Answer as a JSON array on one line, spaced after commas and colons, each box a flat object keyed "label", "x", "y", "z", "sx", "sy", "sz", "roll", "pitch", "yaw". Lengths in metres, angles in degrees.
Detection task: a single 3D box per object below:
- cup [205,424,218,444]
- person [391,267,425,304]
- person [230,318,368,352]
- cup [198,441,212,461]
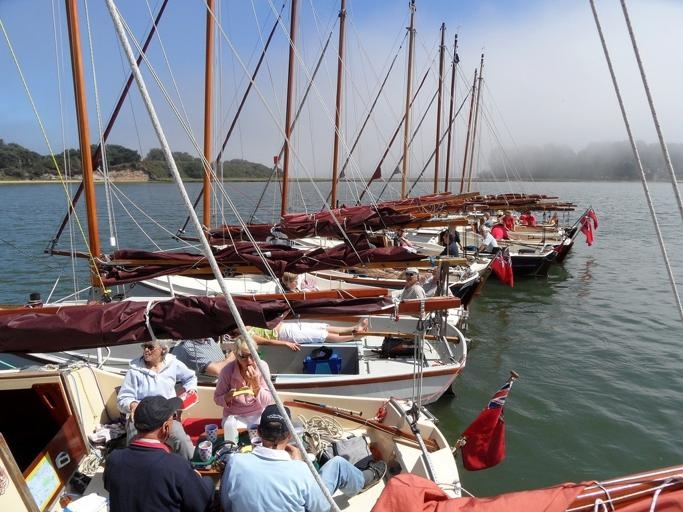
[{"label": "cup", "x": -1.505, "y": 2.100, "z": 6.164, "sx": 0.182, "sy": 0.196, "sz": 0.188, "roll": 3, "pitch": 6, "yaw": 0}, {"label": "person", "x": 1.352, "y": 0.510, "z": 9.867, "sx": 0.385, "sy": 0.567, "sz": 0.918, "roll": 1, "pitch": 10, "yaw": 7}, {"label": "person", "x": -0.563, "y": 1.297, "z": 8.418, "sx": 1.683, "sy": 0.449, "sz": 0.830, "roll": 1, "pitch": 14, "yaw": -10}, {"label": "cup", "x": -1.523, "y": 2.206, "z": 5.859, "sx": 0.158, "sy": 0.171, "sz": 0.192, "roll": 4, "pitch": 0, "yaw": -4}]
